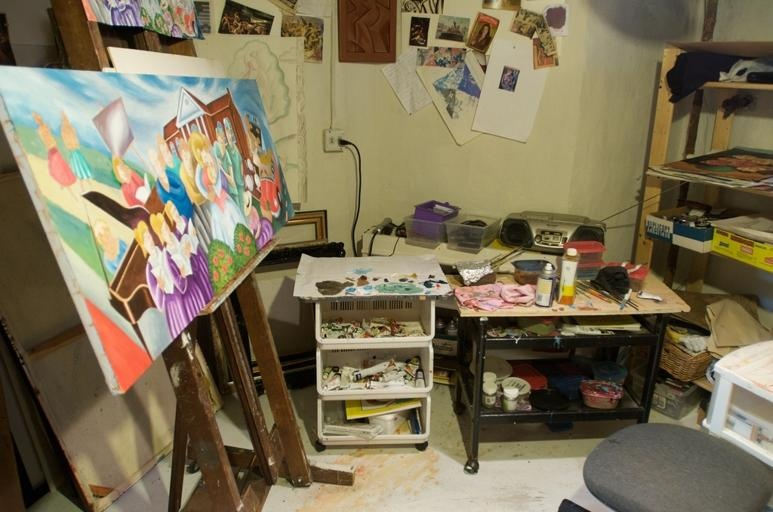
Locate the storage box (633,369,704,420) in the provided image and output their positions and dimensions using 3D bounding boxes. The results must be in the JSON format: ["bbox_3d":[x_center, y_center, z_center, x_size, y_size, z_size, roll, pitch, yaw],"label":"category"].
[{"bbox_3d":[1.500,0.738,3.071,0.371,0.183,0.276,10,10,-30],"label":"storage box"}]

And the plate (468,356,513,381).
[{"bbox_3d":[0.590,0.589,2.993,0.148,0.079,0.221,4,19,13],"label":"plate"}]

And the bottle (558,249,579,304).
[{"bbox_3d":[0.843,0.100,2.625,0.098,0.263,0.188,3,20,13],"label":"bottle"}]

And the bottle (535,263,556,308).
[{"bbox_3d":[0.731,0.132,2.604,0.090,0.196,0.103,4,21,14],"label":"bottle"}]

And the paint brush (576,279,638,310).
[{"bbox_3d":[1.035,0.184,2.709,0.093,0.036,0.350,-32,39,-22],"label":"paint brush"}]

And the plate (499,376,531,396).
[{"bbox_3d":[0.659,0.655,2.858,0.096,0.022,0.094,-14,17,-41],"label":"plate"}]

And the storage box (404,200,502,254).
[{"bbox_3d":[0.340,-0.142,3.182,0.414,0.147,0.315,15,27,14],"label":"storage box"}]

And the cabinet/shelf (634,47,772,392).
[{"bbox_3d":[1.626,-0.419,2.999,0.627,1.351,0.684,-20,28,-41],"label":"cabinet/shelf"}]

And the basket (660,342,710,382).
[{"bbox_3d":[1.544,0.537,2.927,0.259,0.107,0.189,5,11,-39],"label":"basket"}]
